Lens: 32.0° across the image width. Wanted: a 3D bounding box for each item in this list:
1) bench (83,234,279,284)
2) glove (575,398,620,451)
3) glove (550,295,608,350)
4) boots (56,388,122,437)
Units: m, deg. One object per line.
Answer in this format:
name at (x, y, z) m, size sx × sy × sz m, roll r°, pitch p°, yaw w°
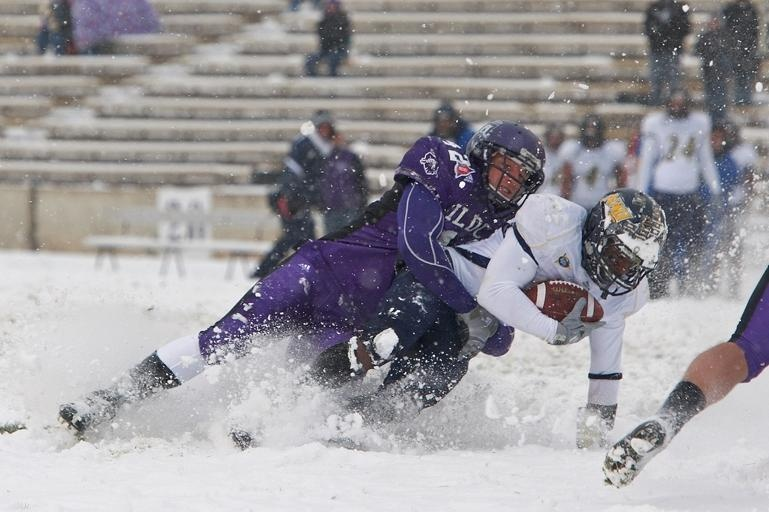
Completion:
bench at (-2.610, -0.055, 16.519) m, size 2.183 × 0.390 × 0.919 m, roll -1°, pitch 10°, yaw -10°
glove at (2.025, 1.638, 12.938) m, size 0.401 × 0.407 × 0.105 m, roll 8°, pitch 0°, yaw -1°
glove at (1.828, 0.598, 12.654) m, size 0.522 × 0.444 × 0.087 m, roll -2°, pitch 10°, yaw -18°
boots at (-2.751, 1.442, 12.708) m, size 0.372 × 0.220 × 0.612 m, roll 30°, pitch 45°, yaw 31°
